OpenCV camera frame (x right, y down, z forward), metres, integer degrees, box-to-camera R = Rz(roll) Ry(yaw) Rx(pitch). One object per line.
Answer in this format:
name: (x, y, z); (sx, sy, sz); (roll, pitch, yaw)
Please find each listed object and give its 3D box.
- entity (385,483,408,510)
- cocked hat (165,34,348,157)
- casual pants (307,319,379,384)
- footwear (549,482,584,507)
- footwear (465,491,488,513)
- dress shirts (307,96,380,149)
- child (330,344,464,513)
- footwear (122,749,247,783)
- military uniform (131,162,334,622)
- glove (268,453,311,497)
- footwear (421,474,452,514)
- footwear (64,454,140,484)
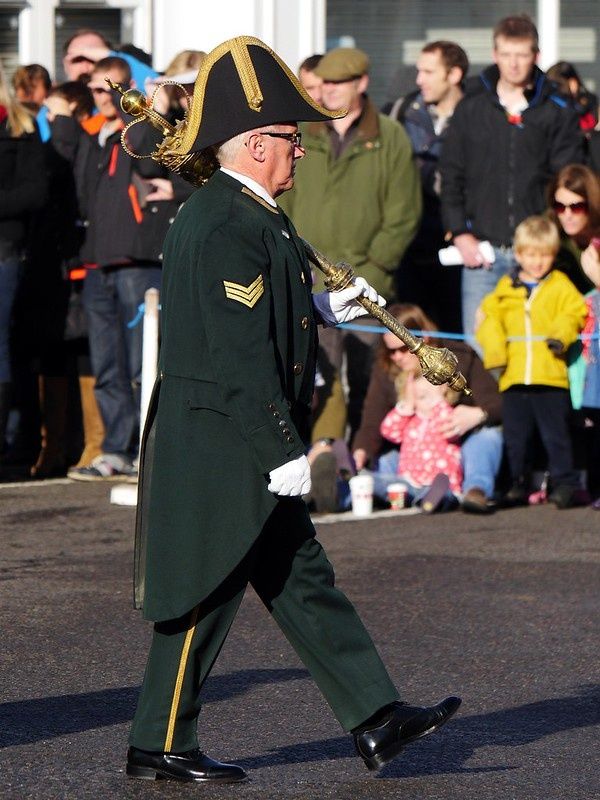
entity: (0.455, 0.454, 7.274); (0.111, 0.108, 0.116); (0, -6, 9)
cocked hat: (-0.108, -0.724, 3.659); (0.419, 0.216, 0.479); (-16, 10, -14)
casual pants: (0.225, -0.249, 8.160); (0.084, 0.319, 0.327); (9, -4, -26)
footwear: (1.260, 0.458, 7.393); (0.080, 0.095, 0.216); (2, 0, 22)
footwear: (0.799, 0.476, 7.124); (0.140, 0.092, 0.063); (-1, 4, -30)
dress shirts: (0.254, -1.405, 7.998); (0.261, 0.119, 0.342); (-2, -2, 5)
child: (0.586, 0.083, 7.352); (0.591, 0.797, 0.566); (-2, 14, -34)
footwear: (-0.273, 0.873, 3.735); (0.293, 0.116, 0.100); (0, -3, -1)
military uniform: (-0.173, 0.008, 3.607); (0.408, 1.056, 0.381); (2, 11, 0)
glove: (-0.026, 0.174, 3.468); (0.097, 0.088, 0.029); (-17, 15, -28)
footwear: (0.625, 0.436, 7.172); (0.113, 0.191, 0.081); (32, 0, -16)
footwear: (-1.039, 0.378, 8.280); (0.421, 0.168, 0.162); (3, -3, -6)
